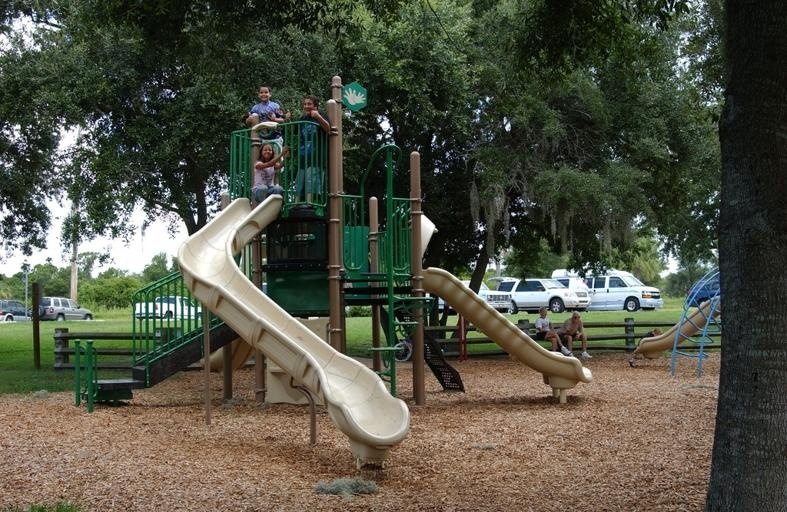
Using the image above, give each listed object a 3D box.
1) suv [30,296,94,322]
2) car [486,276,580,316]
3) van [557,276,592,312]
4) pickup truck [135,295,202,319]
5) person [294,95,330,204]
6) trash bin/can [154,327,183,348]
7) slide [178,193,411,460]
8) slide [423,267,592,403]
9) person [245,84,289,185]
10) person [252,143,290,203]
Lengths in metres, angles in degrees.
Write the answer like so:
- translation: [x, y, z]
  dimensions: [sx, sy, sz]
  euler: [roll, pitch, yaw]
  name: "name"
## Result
- translation: [-16.351, 2.605, 46.398]
  dimensions: [1.449, 1.170, 3.318]
  euler: [-2, -4, 14]
  name: "suv"
- translation: [6.178, 1.755, 41.248]
  dimensions: [3.191, 1.362, 1.652]
  euler: [-5, -5, 34]
  name: "car"
- translation: [7.991, 1.559, 41.171]
  dimensions: [1.156, 1.154, 2.041]
  euler: [3, -7, -39]
  name: "van"
- translation: [-5.457, 1.243, 22.746]
  dimensions: [1.903, 0.685, 1.027]
  euler: [-1, 0, -32]
  name: "pickup truck"
- translation: [-1.542, -2.049, 17.863]
  dimensions: [0.705, 2.039, 0.658]
  euler: [6, -1, 23]
  name: "person"
- translation: [-4.770, 1.714, 19.802]
  dimensions: [0.647, 0.459, 0.408]
  euler: [0, -6, -2]
  name: "trash bin/can"
- translation: [-1.659, 1.212, 15.432]
  dimensions: [1.690, 3.369, 7.385]
  euler: [1, -3, -43]
  name: "slide"
- translation: [2.149, 1.562, 19.007]
  dimensions: [5.162, 3.231, 2.492]
  euler: [-1, -1, 13]
  name: "slide"
- translation: [-2.529, -2.403, 18.796]
  dimensions: [0.811, 1.914, 0.512]
  euler: [-4, 8, -9]
  name: "person"
- translation: [-2.450, -1.577, 18.047]
  dimensions: [0.581, 1.326, 0.851]
  euler: [-1, -2, -1]
  name: "person"
